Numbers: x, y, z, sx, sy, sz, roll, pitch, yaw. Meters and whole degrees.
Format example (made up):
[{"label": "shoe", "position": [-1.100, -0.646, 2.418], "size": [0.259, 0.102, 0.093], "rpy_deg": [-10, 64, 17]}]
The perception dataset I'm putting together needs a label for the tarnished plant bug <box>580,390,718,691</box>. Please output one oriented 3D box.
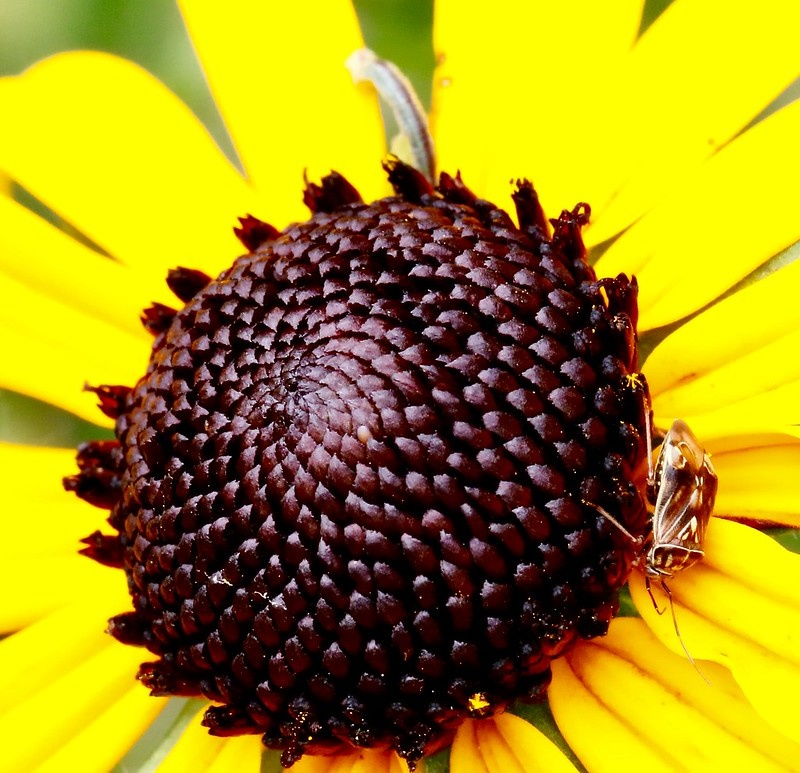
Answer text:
[{"label": "tarnished plant bug", "position": [0.309, 0.181, 1.049], "size": [0.072, 0.245, 0.271], "rpy_deg": [5, 84, 51]}]
